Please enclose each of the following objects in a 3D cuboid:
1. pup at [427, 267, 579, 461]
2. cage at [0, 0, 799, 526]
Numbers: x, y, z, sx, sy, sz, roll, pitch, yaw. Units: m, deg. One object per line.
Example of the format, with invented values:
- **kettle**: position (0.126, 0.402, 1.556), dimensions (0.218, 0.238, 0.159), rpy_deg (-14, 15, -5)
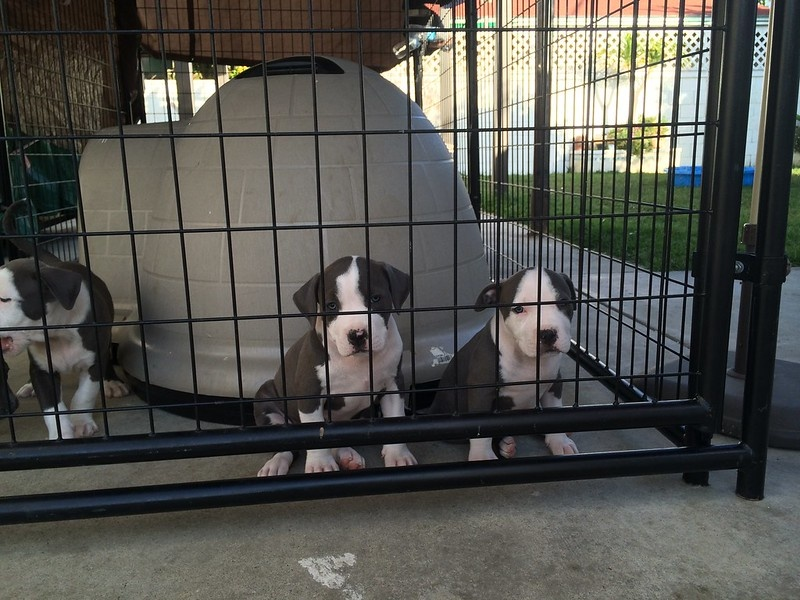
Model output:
- **pup**: position (0.447, 0.189, 2.366), dimensions (0.423, 0.707, 0.871), rpy_deg (-9, 9, -31)
- **cage**: position (0.263, -0.075, 2.682), dimensions (2.318, 1.871, 1.713), rpy_deg (-1, 4, -7)
